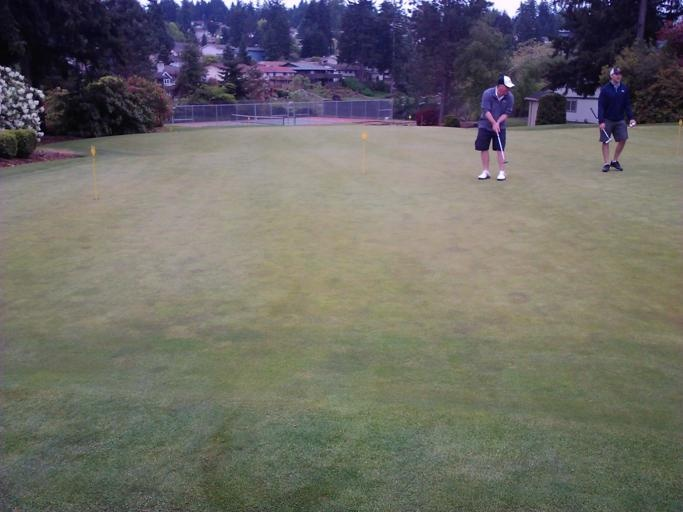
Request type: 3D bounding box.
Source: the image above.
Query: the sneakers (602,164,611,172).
[{"bbox_3d":[5.946,-1.968,12.739,0.129,0.148,0.351,0,4,28],"label":"sneakers"}]

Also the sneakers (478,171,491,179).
[{"bbox_3d":[3.176,-1.776,12.489,0.144,0.154,0.326,2,7,32],"label":"sneakers"}]
